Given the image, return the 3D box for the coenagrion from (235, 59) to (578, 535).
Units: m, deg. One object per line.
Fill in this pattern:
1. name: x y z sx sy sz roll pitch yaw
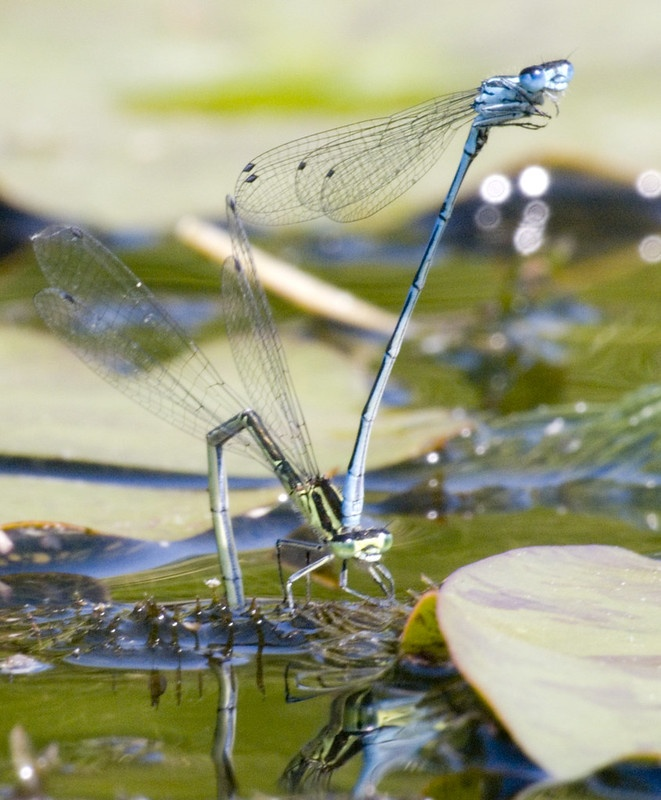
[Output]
1. coenagrion: 0.057 -0.070 0.722 0.190 0.320 0.199 -9 9 -18

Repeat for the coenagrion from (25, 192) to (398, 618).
1. coenagrion: -0.115 -0.005 0.874 0.474 0.308 0.201 6 24 -5
